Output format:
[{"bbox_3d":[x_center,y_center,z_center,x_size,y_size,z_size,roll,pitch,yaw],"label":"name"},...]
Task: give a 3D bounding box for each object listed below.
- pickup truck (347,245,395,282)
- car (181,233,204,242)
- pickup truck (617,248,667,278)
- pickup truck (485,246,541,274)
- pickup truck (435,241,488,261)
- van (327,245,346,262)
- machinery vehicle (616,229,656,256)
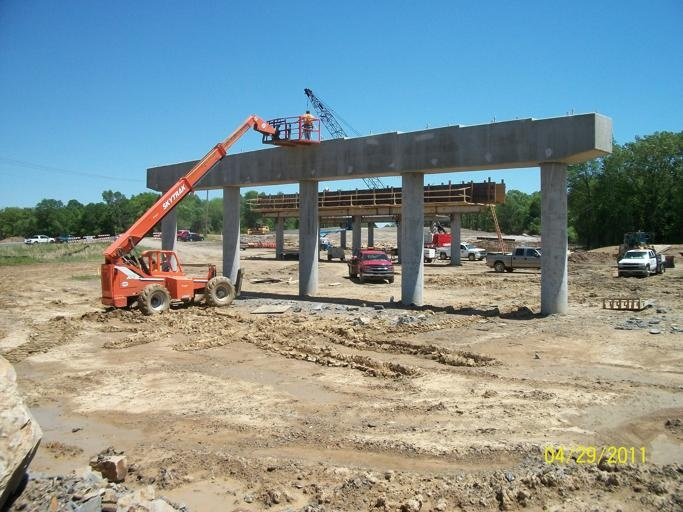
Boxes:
[{"bbox_3d":[1.665,0.633,32.739,2.016,1.687,3.338,-2,8,-7],"label":"pickup truck"},{"bbox_3d":[-24.508,-3.082,98.650,2.922,1.043,1.567,2,-2,-44],"label":"car"},{"bbox_3d":[16.833,0.386,32.816,1.423,1.280,3.760,-3,-4,36],"label":"pickup truck"},{"bbox_3d":[11.069,0.311,37.678,3.270,1.253,1.809,-2,1,29],"label":"pickup truck"},{"bbox_3d":[10.804,-0.353,52.789,3.777,1.392,1.873,-1,3,13],"label":"pickup truck"},{"bbox_3d":[-0.493,-0.196,53.701,1.447,1.207,1.789,-1,8,-2],"label":"van"},{"bbox_3d":[22.720,-1.095,44.867,2.875,3.006,2.729,0,-3,32],"label":"machinery vehicle"}]
